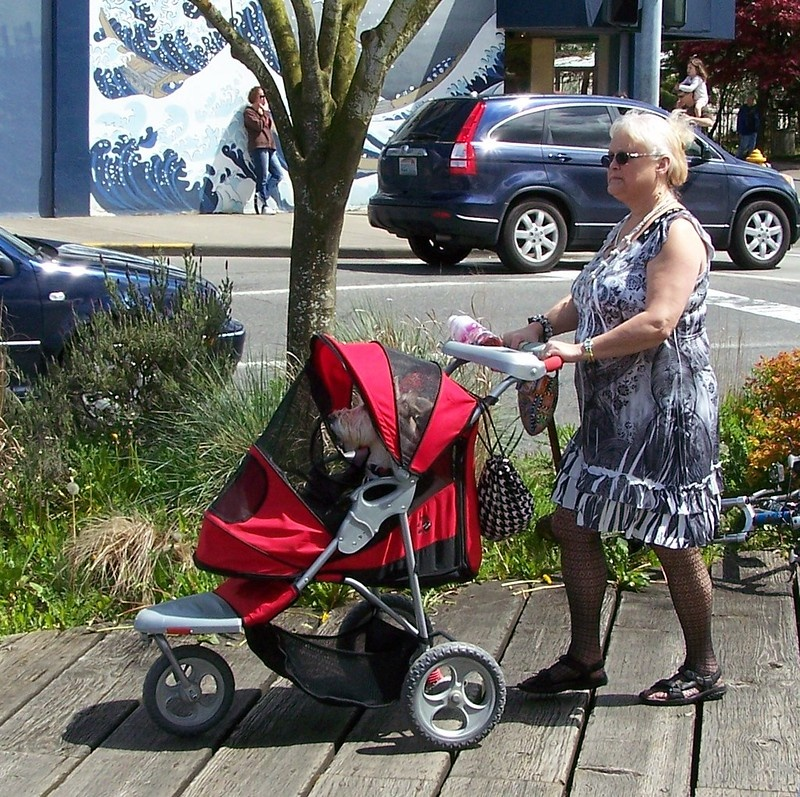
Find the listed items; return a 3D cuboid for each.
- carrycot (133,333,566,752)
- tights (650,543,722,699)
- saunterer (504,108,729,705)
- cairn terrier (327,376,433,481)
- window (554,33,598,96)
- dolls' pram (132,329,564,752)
[{"bbox_3d":[-0.148,0.370,2.489,1.106,1.039,0.679,0,3,-14],"label":"carrycot"},{"bbox_3d":[0.815,0.649,2.486,0.230,0.498,0.115,-7,12,-10],"label":"tights"},{"bbox_3d":[0.601,0.024,2.481,0.557,1.667,0.563,-1,-3,31],"label":"saunterer"},{"bbox_3d":[-0.088,0.012,2.440,0.455,0.272,0.275,-4,17,-27],"label":"cairn terrier"},{"bbox_3d":[5.260,-9.918,26.044,1.226,2.310,0.157,3,-20,8],"label":"window"},{"bbox_3d":[-0.115,0.374,2.485,1.179,1.055,0.681,-1,1,-19],"label":"dolls' pram"}]
